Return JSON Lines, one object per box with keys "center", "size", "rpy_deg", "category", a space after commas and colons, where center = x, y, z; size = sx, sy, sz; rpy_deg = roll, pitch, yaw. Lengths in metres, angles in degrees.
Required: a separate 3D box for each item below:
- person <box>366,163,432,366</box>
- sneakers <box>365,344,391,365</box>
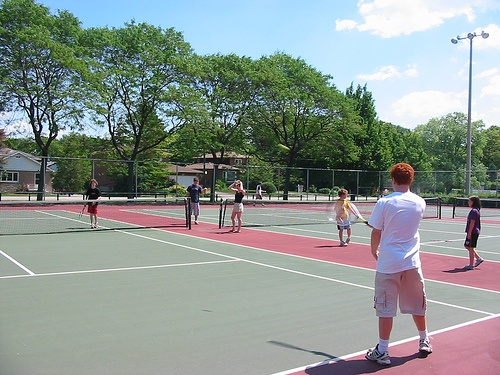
{"center": [1.994, 1.003, 6.255], "size": [0.821, 2.730, 0.413], "rpy_deg": [2, 0, -15], "category": "person"}
{"center": [1.682, 2.227, 6.213], "size": [0.162, 0.172, 0.363], "rpy_deg": [3, -5, -21], "category": "sneakers"}
